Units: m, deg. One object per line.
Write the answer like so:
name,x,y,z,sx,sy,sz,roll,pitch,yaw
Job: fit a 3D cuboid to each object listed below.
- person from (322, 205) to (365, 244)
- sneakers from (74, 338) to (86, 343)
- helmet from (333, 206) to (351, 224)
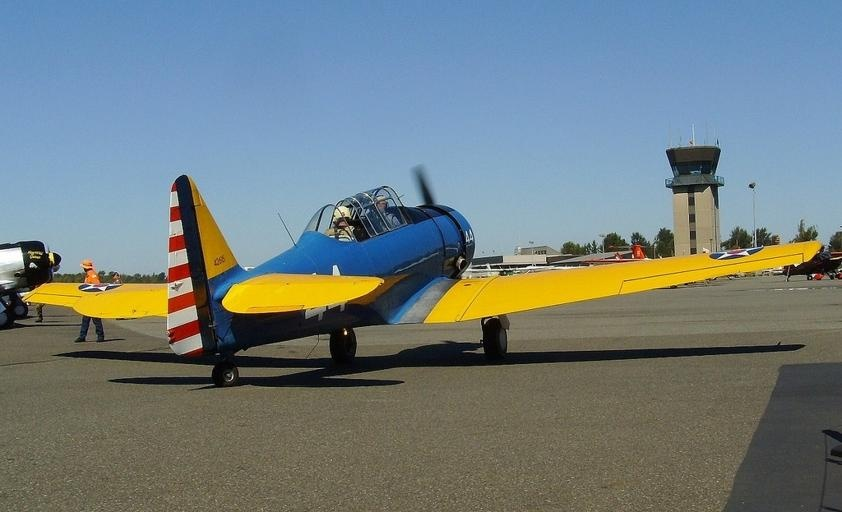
person,-1.455,-0.559,12.469,0.621,0.669,0.748,-1,32,-14
sneakers,-9.253,2.313,17.833,0.295,0.099,0.126,7,-3,-15
helmet,-1.508,-0.762,12.425,0.324,0.290,0.347,0,9,-21
